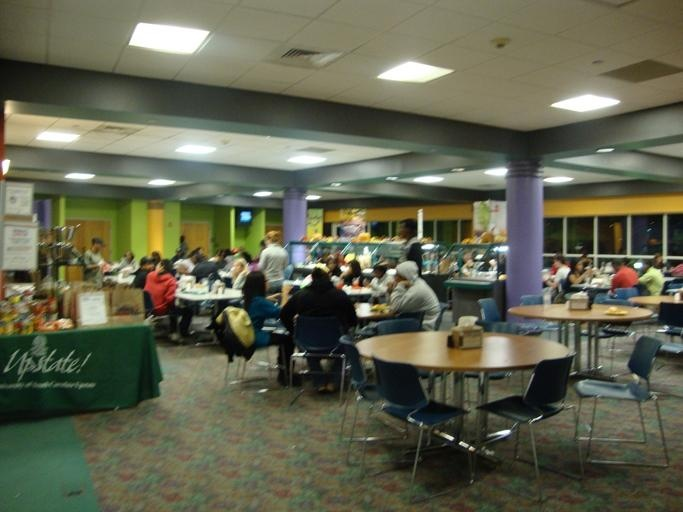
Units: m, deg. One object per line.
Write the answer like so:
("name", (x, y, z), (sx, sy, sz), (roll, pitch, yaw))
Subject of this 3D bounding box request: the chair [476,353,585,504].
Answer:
("chair", (1.508, 1.276, 4.535), (0.763, 1.053, 0.865), (-6, 8, -38))

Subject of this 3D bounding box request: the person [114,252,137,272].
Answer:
("person", (-5.593, 0.164, 14.098), (0.239, 0.284, 0.711), (-24, -5, 3))

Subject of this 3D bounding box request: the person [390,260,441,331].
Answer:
("person", (0.863, 0.615, 6.645), (0.643, 1.082, 0.488), (3, 14, 3))

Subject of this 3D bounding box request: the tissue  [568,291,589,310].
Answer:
("tissue ", (2.974, 0.576, 6.792), (0.204, 0.190, 0.304), (-1, -2, 21))

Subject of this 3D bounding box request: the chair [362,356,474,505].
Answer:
("chair", (0.708, 1.303, 4.448), (0.760, 1.047, 0.954), (3, 7, 28))

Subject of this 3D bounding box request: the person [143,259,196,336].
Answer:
("person", (-2.859, 0.809, 8.951), (0.616, 1.364, 1.175), (-1, 6, -6))

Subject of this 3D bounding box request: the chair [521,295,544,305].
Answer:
("chair", (2.694, 0.633, 7.679), (0.177, 0.127, 0.175), (0, -1, -3))

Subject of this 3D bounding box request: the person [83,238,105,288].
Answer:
("person", (-5.162, 0.075, 11.298), (0.377, 0.866, 1.509), (-4, 7, -24))

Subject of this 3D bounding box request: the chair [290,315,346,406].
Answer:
("chair", (-0.291, 1.123, 6.365), (0.635, 0.991, 1.106), (-1, 6, -3))

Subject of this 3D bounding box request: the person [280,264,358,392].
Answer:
("person", (-0.202, 0.877, 6.325), (0.899, 1.387, 0.692), (-2, 4, 3))

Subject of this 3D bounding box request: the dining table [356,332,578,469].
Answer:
("dining table", (0.982, 1.020, 4.739), (1.308, 0.633, 1.294), (0, -6, -10))

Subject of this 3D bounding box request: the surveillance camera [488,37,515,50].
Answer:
("surveillance camera", (1.621, -2.162, 5.500), (0.189, 0.051, 0.275), (1, 6, 14))

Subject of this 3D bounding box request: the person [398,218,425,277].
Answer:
("person", (1.059, -0.135, 8.307), (0.343, 1.098, 0.355), (-16, 43, -5))

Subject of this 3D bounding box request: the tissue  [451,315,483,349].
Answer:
("tissue ", (1.116, 0.696, 4.864), (0.279, 0.260, 0.272), (0, -6, 1))

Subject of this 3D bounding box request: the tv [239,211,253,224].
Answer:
("tv", (-3.616, -1.448, 20.377), (0.492, 0.482, 0.247), (4, -7, -38))

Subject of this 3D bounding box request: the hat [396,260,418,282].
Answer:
("hat", (0.800, 0.194, 6.613), (0.278, 0.239, 0.199), (7, 5, -33))
